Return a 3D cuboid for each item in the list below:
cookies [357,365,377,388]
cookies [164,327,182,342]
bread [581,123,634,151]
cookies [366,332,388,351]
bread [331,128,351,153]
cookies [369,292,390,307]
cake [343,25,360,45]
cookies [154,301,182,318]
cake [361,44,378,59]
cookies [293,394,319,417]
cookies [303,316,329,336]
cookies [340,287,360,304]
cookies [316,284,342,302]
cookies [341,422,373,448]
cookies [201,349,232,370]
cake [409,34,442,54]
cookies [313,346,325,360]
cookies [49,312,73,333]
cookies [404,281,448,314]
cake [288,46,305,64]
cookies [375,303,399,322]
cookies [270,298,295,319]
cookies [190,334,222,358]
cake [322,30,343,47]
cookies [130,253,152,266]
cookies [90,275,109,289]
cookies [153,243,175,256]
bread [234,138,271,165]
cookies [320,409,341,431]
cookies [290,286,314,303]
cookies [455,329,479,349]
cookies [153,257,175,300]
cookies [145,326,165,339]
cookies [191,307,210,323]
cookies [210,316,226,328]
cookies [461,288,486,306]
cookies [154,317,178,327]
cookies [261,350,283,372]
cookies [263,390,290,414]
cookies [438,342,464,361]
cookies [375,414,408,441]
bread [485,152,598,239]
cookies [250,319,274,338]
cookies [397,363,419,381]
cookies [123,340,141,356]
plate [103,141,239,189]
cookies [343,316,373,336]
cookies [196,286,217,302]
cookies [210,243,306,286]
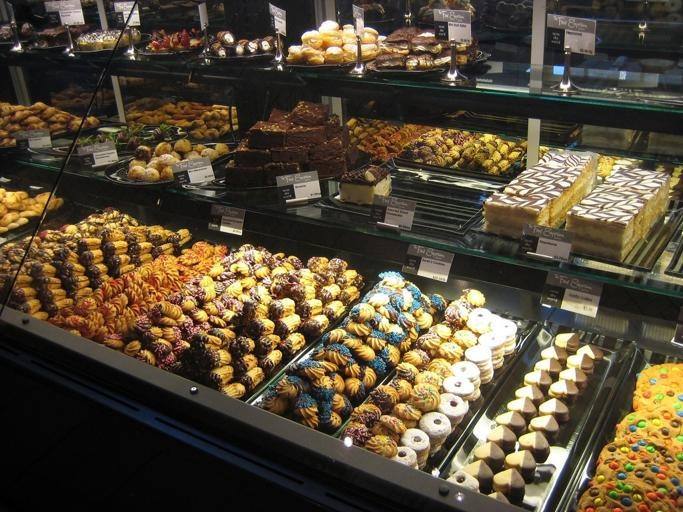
[{"bbox_3d":[0.112,0.498,2.180,0.049,0.071,0.079,28,22,-39],"label":"cookies"},{"bbox_3d":[-0.777,0.359,2.412,0.076,0.051,0.068,15,7,-2],"label":"cookies"},{"bbox_3d":[1.070,-0.478,2.094,0.129,0.071,0.060,18,56,20],"label":"bread"},{"bbox_3d":[0.154,0.364,2.252,0.095,0.056,0.078,-4,35,-5],"label":"cookies"},{"bbox_3d":[-0.007,-0.557,2.528,0.096,0.126,0.103,13,28,14],"label":"bread"},{"bbox_3d":[0.170,0.191,2.344,0.069,0.018,0.068,20,34,38],"label":"cookies"},{"bbox_3d":[0.033,-0.973,2.304,0.102,0.089,0.035,-2,-10,6],"label":"cake"},{"bbox_3d":[-0.811,0.246,2.455,0.096,0.044,0.096,5,-2,14],"label":"cookies"},{"bbox_3d":[0.119,-0.881,2.261,0.071,0.037,0.076,6,36,12],"label":"cake"},{"bbox_3d":[-0.129,0.576,2.030,0.085,0.061,0.071,11,31,20],"label":"cookies"},{"bbox_3d":[-0.114,0.317,2.414,0.088,0.037,0.115,18,32,35],"label":"cookies"},{"bbox_3d":[0.041,0.191,2.566,0.068,0.034,0.095,-11,12,8],"label":"cookies"},{"bbox_3d":[-0.056,0.177,2.529,0.080,0.032,0.094,-6,13,18],"label":"cookies"},{"bbox_3d":[0.050,0.642,1.892,0.077,0.029,0.069,16,17,36],"label":"cookies"},{"bbox_3d":[-0.535,0.436,2.242,0.117,0.045,0.065,0,61,-17],"label":"cookies"},{"bbox_3d":[0.341,-0.851,2.115,0.118,0.043,0.098,7,44,16],"label":"cake"},{"bbox_3d":[-0.095,0.400,2.197,0.056,0.017,0.046,-22,30,10],"label":"cookies"},{"bbox_3d":[-1.321,0.303,2.468,0.113,0.027,0.094,2,19,-8],"label":"cookies"},{"bbox_3d":[0.403,0.205,2.482,0.180,0.089,0.150,38,-4,-13],"label":"cookies"},{"bbox_3d":[-0.200,-0.897,2.335,0.085,0.081,0.032,3,-4,15],"label":"cake"},{"bbox_3d":[0.208,0.249,2.324,0.101,0.031,0.079,12,3,31],"label":"cookies"},{"bbox_3d":[-0.267,0.245,2.439,0.074,0.038,0.116,29,26,28],"label":"cookies"},{"bbox_3d":[-0.595,0.389,2.303,0.105,0.044,0.110,4,8,6],"label":"cookies"},{"bbox_3d":[-0.039,-0.953,2.297,0.086,0.047,0.084,-19,31,-37],"label":"cake"},{"bbox_3d":[-1.084,0.013,2.857,0.080,0.024,0.076,-24,50,-38],"label":"cookies"},{"bbox_3d":[-1.239,0.131,2.698,0.054,0.029,0.092,10,22,14],"label":"cookies"},{"bbox_3d":[-0.994,-0.033,2.932,0.116,0.043,0.044,-17,11,-21],"label":"cookies"},{"bbox_3d":[-0.434,-0.502,2.558,0.172,0.045,0.133,3,30,-2],"label":"bread"},{"bbox_3d":[-0.042,0.632,2.022,0.086,0.070,0.061,-9,31,-15],"label":"cookies"},{"bbox_3d":[-0.187,0.177,2.498,0.123,0.070,0.083,-6,29,1],"label":"cookies"},{"bbox_3d":[0.542,0.358,2.274,0.088,0.022,0.082,19,41,30],"label":"cookies"},{"bbox_3d":[-0.903,0.109,2.713,0.077,0.163,0.138,0,-5,5],"label":"cookies"},{"bbox_3d":[-0.842,0.348,2.387,0.062,0.016,0.048,18,24,6],"label":"cookies"},{"bbox_3d":[-0.668,0.278,2.494,0.073,0.020,0.070,-16,43,-44],"label":"cookies"},{"bbox_3d":[-0.578,0.310,2.466,0.065,0.018,0.051,28,24,13],"label":"cookies"},{"bbox_3d":[0.606,0.190,2.436,0.095,0.026,0.094,-32,51,-34],"label":"cookies"},{"bbox_3d":[-0.803,0.301,2.444,0.075,0.020,0.041,21,25,17],"label":"cookies"},{"bbox_3d":[-0.300,0.456,2.293,0.062,0.036,0.100,40,48,12],"label":"cookies"},{"bbox_3d":[-0.257,0.577,2.067,0.093,0.023,0.089,-20,38,-38],"label":"cookies"},{"bbox_3d":[0.464,0.403,2.227,0.094,0.027,0.077,18,44,22],"label":"cookies"},{"bbox_3d":[0.186,0.630,1.948,0.106,0.028,0.083,8,29,11],"label":"cookies"},{"bbox_3d":[0.801,-0.231,2.069,0.200,0.107,0.475,14,33,36],"label":"bread"},{"bbox_3d":[-0.355,0.320,2.360,0.107,0.066,0.069,-6,-4,-1],"label":"cookies"},{"bbox_3d":[0.271,0.469,2.135,0.071,0.020,0.072,-14,35,-35],"label":"cookies"},{"bbox_3d":[-0.950,0.414,2.381,0.073,0.023,0.060,-16,44,-10],"label":"cookies"},{"bbox_3d":[-0.969,-0.498,2.782,0.357,0.090,0.458,-26,31,-35],"label":"plate"},{"bbox_3d":[0.078,0.300,2.270,0.094,0.025,0.091,-8,25,-36],"label":"cookies"},{"bbox_3d":[-0.660,0.183,2.565,0.083,0.032,0.075,-17,29,-38],"label":"cookies"},{"bbox_3d":[-0.458,0.039,2.705,0.330,0.076,0.233,4,18,26],"label":"cookies"}]
